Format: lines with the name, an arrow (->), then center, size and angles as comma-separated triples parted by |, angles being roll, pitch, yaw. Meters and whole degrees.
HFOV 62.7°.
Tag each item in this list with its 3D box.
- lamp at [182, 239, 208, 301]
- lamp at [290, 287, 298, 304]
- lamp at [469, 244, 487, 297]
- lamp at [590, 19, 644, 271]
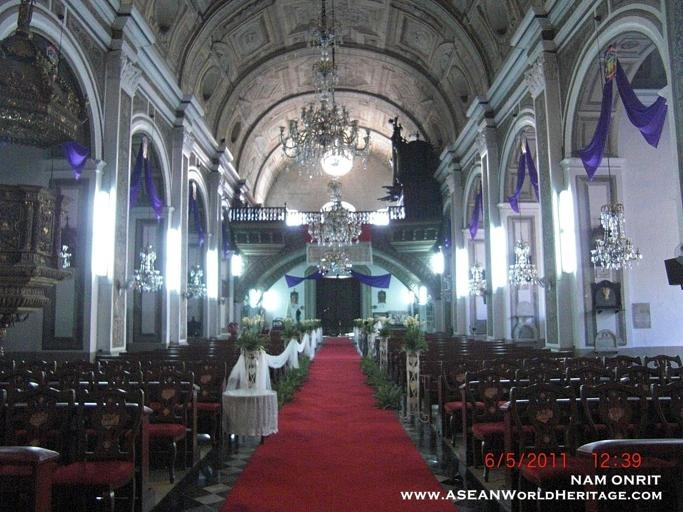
lamp -> -4.947, 0.471, 19.260 | 0.655, 2.225, 3.198 | 0, 0, -14
lamp -> -3.150, 2.657, 36.319 | 0.654, 1.450, 0.716 | -1, -5, -1
lamp -> 4.668, 0.523, 19.377 | 0.513, 1.881, 3.461 | 0, 0, 13
lamp -> 5.383, -2.135, 11.192 | 0.853, 4.892, 2.497 | -1, 0, 25
